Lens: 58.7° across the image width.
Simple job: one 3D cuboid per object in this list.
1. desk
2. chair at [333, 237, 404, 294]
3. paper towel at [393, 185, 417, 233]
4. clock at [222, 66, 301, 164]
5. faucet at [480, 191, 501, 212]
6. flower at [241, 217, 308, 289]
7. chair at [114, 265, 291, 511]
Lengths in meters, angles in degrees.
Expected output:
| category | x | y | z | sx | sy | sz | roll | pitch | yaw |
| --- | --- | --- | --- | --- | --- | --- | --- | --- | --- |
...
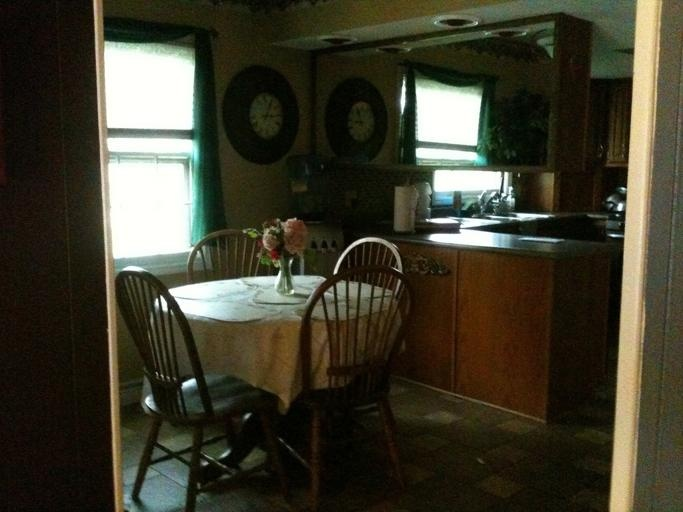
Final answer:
| category | x | y | z | sx | sy | sz | roll | pitch | yaw |
| --- | --- | --- | --- | --- | --- | --- | --- | --- | --- |
| desk | -0.273 | 0.547 | 2.814 | 1.147 | 0.808 | 1.061 | 1 | 11 | -2 |
| chair | 0.183 | 0.025 | 3.546 | 0.344 | 0.442 | 0.361 | 0 | 1 | -36 |
| paper towel | 0.422 | -0.289 | 3.828 | 0.181 | 0.298 | 0.141 | 3 | 7 | 28 |
| clock | -0.544 | -0.917 | 3.941 | 0.078 | 0.671 | 0.704 | 6 | 8 | 40 |
| faucet | 1.172 | -0.437 | 4.808 | 0.128 | 0.178 | 0.067 | 36 | 13 | 38 |
| flower | -0.269 | -0.002 | 2.589 | 0.275 | 0.316 | 0.279 | -16 | 23 | -34 |
| chair | -0.558 | 0.494 | 2.381 | 0.685 | 0.989 | 0.485 | 9 | 16 | 37 |
